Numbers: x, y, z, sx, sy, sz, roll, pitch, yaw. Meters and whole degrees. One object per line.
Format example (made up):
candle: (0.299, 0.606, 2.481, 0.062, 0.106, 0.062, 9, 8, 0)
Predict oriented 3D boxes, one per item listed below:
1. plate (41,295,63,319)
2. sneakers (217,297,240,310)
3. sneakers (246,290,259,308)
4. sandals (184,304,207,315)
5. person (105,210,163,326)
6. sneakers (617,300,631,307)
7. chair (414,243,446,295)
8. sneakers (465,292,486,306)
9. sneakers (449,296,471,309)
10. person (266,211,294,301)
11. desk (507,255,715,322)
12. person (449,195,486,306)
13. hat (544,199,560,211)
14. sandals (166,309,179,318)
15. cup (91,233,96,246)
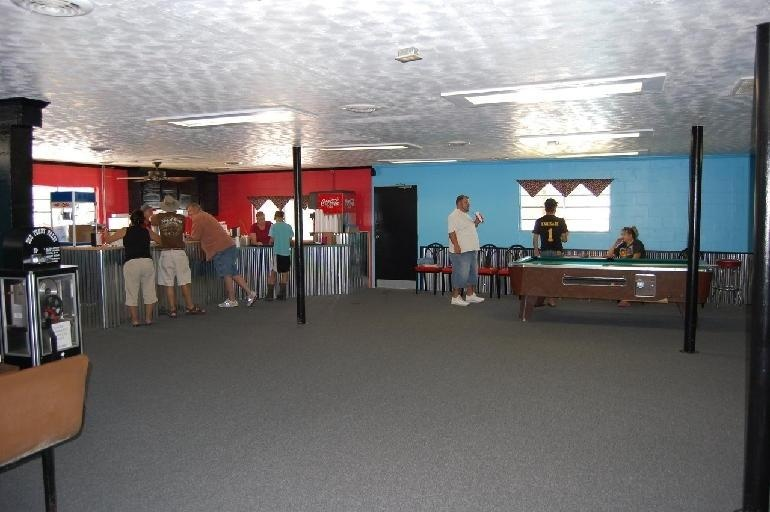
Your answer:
plate: (-3.308, 0.514, 5.564, 0.186, 0.198, 0.217, 1, 8, -26)
sneakers: (-2.961, 0.904, 10.713, 0.462, 0.163, 0.154, 1, -2, -4)
sneakers: (-2.555, 0.878, 10.752, 0.224, 0.428, 0.148, 9, 37, -7)
sandals: (-3.390, 0.966, 9.982, 0.345, 0.121, 0.150, -1, 1, -11)
person: (-3.995, 0.171, 9.159, 0.746, 1.875, 0.563, -10, 13, -41)
sneakers: (4.415, 0.881, 10.367, 0.290, 0.087, 0.274, 2, 5, 22)
chair: (1.041, 0.290, 12.625, 0.682, 1.052, 1.245, 0, 9, 5)
sneakers: (1.750, 0.833, 11.107, 0.486, 0.226, 0.164, 0, 3, 0)
sneakers: (1.418, 0.869, 10.780, 0.347, 0.136, 0.166, 0, 3, 18)
person: (-2.194, -0.031, 11.577, 0.533, 1.790, 0.666, -3, 10, -9)
desk: (3.377, 0.594, 8.739, 2.836, 1.043, 0.776, 3, 10, 22)
person: (1.600, -0.145, 11.015, 0.677, 2.089, 1.161, 1, 10, 9)
hat: (3.103, -0.976, 10.531, 0.256, 0.252, 0.275, 1, 7, 11)
sandals: (-3.723, 0.989, 9.796, 0.098, 0.102, 0.264, 0, 4, -9)
cup: (-4.779, -0.284, 9.183, 0.072, 0.197, 0.073, -1, 10, 0)
